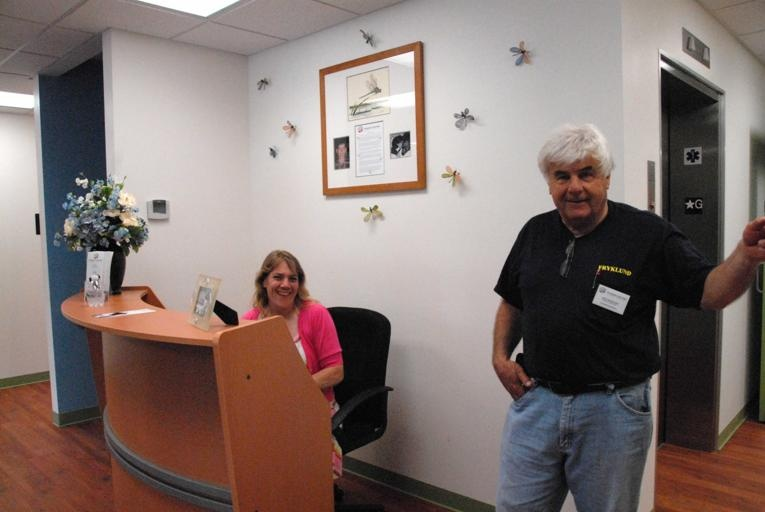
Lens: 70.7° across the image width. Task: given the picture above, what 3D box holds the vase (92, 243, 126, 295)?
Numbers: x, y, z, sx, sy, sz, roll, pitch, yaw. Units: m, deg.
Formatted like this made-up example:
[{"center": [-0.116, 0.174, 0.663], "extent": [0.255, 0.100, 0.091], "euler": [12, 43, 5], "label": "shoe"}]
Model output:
[{"center": [-1.900, 0.083, 3.745], "extent": [0.210, 0.366, 0.150], "euler": [-4, 9, -16], "label": "vase"}]

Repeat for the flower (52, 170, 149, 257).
[{"center": [-1.988, -0.139, 3.868], "extent": [0.591, 0.646, 0.535], "euler": [2, -7, -36], "label": "flower"}]

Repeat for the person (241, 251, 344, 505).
[{"center": [-0.536, 0.477, 3.371], "extent": [0.690, 1.007, 0.312], "euler": [5, 11, 36], "label": "person"}]

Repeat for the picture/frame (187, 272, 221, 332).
[{"center": [-0.951, 0.246, 2.842], "extent": [0.325, 0.357, 0.036], "euler": [5, -6, 43], "label": "picture/frame"}]
